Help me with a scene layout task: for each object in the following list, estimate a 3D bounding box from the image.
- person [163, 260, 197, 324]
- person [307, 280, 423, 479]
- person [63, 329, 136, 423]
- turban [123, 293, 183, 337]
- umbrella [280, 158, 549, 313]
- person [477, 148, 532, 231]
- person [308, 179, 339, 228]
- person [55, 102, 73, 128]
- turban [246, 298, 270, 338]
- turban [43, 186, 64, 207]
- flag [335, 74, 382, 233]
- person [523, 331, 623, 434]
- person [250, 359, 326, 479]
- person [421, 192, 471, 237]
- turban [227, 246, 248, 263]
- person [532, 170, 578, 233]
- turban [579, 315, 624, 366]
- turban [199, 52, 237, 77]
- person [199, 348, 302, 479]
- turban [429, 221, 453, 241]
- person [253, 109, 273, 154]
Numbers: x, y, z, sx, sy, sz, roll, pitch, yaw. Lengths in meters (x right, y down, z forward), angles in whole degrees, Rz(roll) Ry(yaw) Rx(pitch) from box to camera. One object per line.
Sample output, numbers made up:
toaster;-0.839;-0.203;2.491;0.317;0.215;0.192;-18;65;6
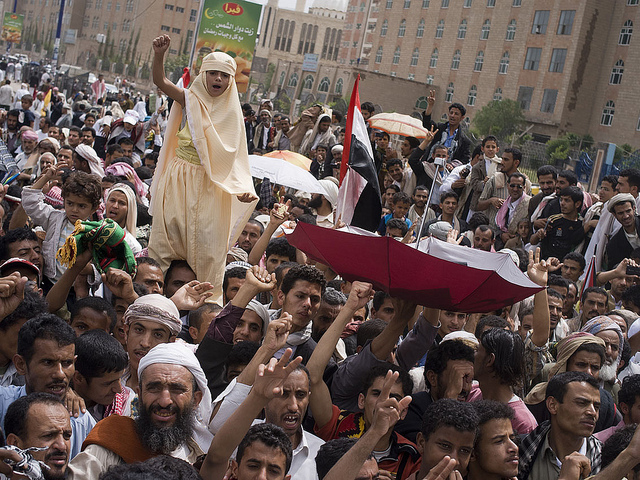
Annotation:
person;-1.390;0.527;7.798;0.390;0.431;0.776;0;41;-6
person;0.388;1.232;6.755;0.894;0.462;1.480;28;45;-7
person;-1.805;1.120;6.374;0.410;0.828;0.559;-3;10;9
turban;-1.394;0.640;6.730;0.372;0.271;0.350;-4;-7;22
umbrella;0.805;-0.242;7.399;2.177;1.496;2.282;9;-1;36
person;2.850;-0.422;12.279;0.766;1.993;0.593;6;7;14
person;0.075;-0.524;11.853;0.438;0.880;0.745;0;16;2
person;-6.223;-3.034;19.150;0.398;0.529;1.034;8;6;-20
turban;-0.577;0.691;7.380;0.244;0.199;0.331;19;41;-21
turban;-3.111;-0.512;9.204;0.208;0.078;0.237;21;21;-16
flag;0.417;-0.772;7.964;0.449;2.025;0.346;3;34;-1
person;2.306;1.307;7.106;0.713;0.968;0.466;-1;6;-15
person;-0.268;1.397;6.147;0.807;0.757;0.435;6;-14;-9
person;1.902;-0.302;11.464;0.786;0.798;0.425;4;-17;2
turban;-0.988;0.164;9.539;0.150;0.082;0.182;13;6;-18
person;3.269;-0.550;11.318;0.470;1.169;0.315;1;28;22
turban;2.809;0.975;7.983;0.343;0.449;0.458;12;8;5
turban;-1.132;-1.997;8.769;0.271;0.183;0.286;9;1;26
person;-0.483;1.272;5.776;0.663;1.071;0.262;10;5;0
turban;1.460;-0.109;9.581;0.260;0.256;0.220;-9;47;-20
person;-1.250;-2.342;17.902;0.444;1.207;0.331;7;-24;-9
